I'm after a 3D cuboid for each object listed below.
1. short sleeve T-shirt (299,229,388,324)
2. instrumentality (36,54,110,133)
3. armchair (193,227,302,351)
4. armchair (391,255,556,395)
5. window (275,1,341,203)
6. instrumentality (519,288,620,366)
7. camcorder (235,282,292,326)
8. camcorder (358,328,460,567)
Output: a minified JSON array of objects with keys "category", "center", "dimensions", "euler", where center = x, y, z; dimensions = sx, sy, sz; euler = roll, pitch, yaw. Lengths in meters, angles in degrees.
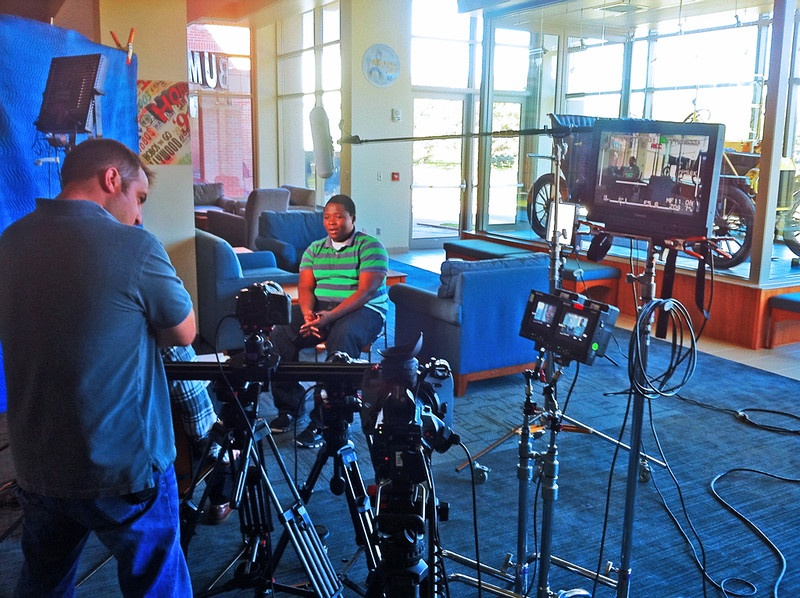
[{"category":"short sleeve T-shirt","center":[-0.360,-0.198,4.838],"dimensions":[0.845,0.777,0.518],"euler":[0,-1,27]},{"category":"instrumentality","center":[-1.795,-1.122,3.718],"dimensions":[0.420,0.473,0.118],"euler":[1,-15,21]},{"category":"armchair","center":[-1.216,-0.199,5.979],"dimensions":[0.883,1.030,1.263],"euler":[-16,8,-3]},{"category":"armchair","center":[0.582,0.127,5.157],"dimensions":[1.074,0.949,0.909],"euler":[-9,16,-39]},{"category":"window","center":[-1.614,-3.303,11.354],"dimensions":[0.611,3.215,2.548],"euler":[-4,13,-21]},{"category":"instrumentality","center":[0.711,0.103,2.662],"dimensions":[0.233,0.265,0.450],"euler":[-6,13,-28]},{"category":"camcorder","center":[-0.480,0.032,2.270],"dimensions":[0.175,0.164,0.174],"euler":[-2,12,-15]},{"category":"camcorder","center":[0.028,0.397,1.769],"dimensions":[0.262,0.559,0.265],"euler":[0,12,-3]}]
